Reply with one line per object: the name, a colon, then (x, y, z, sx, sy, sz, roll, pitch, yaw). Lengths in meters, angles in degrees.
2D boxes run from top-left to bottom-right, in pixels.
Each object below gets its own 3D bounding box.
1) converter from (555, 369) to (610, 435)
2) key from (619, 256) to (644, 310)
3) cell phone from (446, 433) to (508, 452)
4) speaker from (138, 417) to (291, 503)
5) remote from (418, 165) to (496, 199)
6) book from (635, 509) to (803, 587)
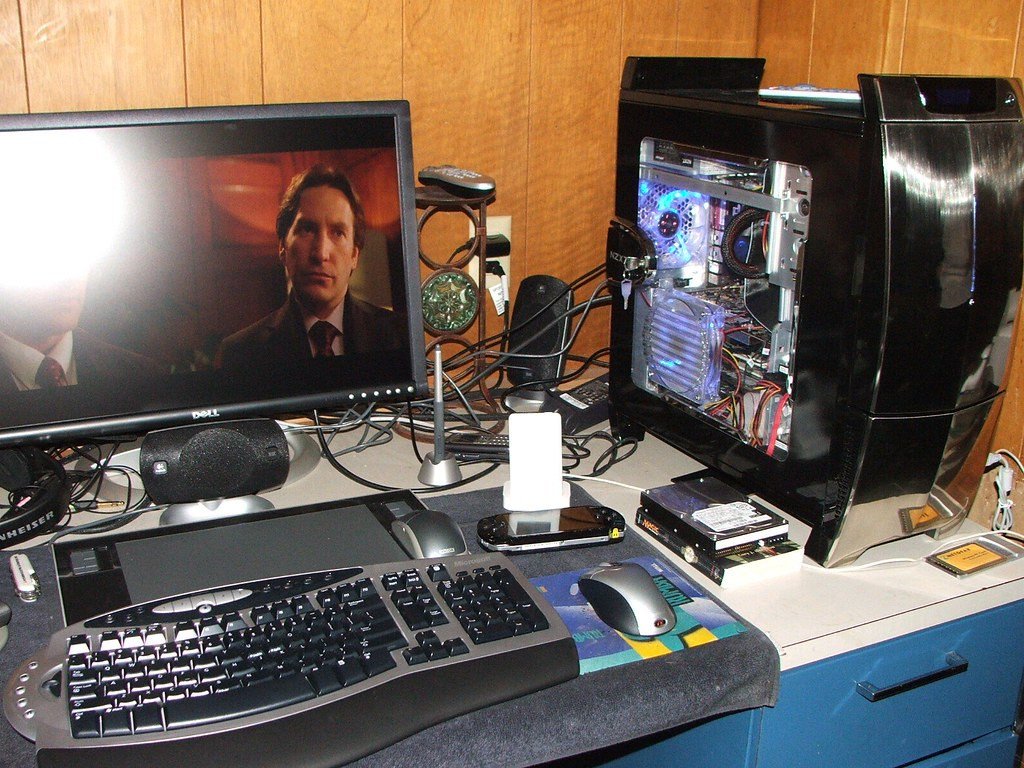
converter: (0.143, 0.037, 1.615, 0.132, 0.027, 0.068, -26, 36, -34)
key: (0.215, -0.185, 1.440, 0.014, 0.064, 0.044, -8, 24, -37)
cell phone: (-0.058, 0.104, 1.485, 0.087, 0.012, 0.043, 1, 27, 2)
speaker: (-0.480, 0.105, 1.315, 0.228, 0.127, 0.125, -3, 1, -19)
remote: (-0.120, -0.398, 1.602, 0.116, 0.056, 0.210, -9, 19, -17)
book: (0.329, 0.246, 1.180, 0.090, 0.030, 0.129, -10, 23, -27)
